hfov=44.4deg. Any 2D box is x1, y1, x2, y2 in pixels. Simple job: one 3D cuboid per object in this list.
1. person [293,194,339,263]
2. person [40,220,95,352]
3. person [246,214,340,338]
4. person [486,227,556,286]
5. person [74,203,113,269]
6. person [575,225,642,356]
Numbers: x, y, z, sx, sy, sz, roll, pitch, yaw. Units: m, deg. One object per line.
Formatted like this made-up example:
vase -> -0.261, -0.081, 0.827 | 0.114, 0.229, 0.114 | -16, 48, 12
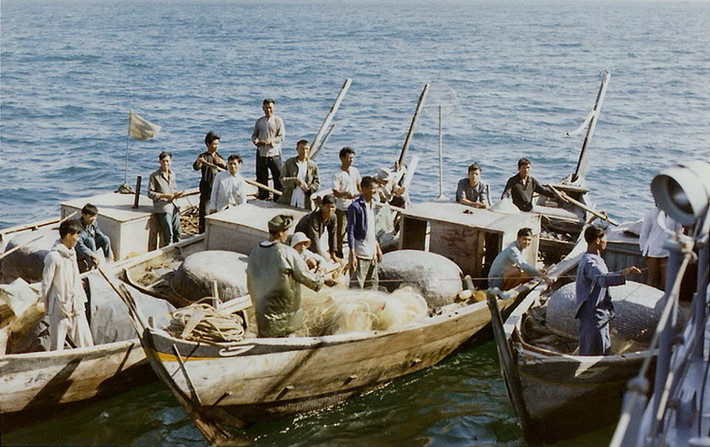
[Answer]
person -> -0.803, 0.147, 18.857 | 0.771, 1.333, 0.483 | 22, 65, 5
person -> -5.617, 1.246, 16.829 | 0.872, 2.537, 0.922 | -6, 26, -21
person -> -1.193, 1.114, 17.254 | 1.135, 2.368, 1.073 | 35, 51, 28
person -> 3.557, 0.959, 18.659 | 1.312, 1.697, 0.956 | 4, 1, 9
person -> -5.774, 0.383, 19.131 | 1.044, 1.511, 0.668 | 18, 26, 32
person -> 5.101, 1.426, 17.310 | 0.859, 2.646, 1.268 | -14, 32, -5
